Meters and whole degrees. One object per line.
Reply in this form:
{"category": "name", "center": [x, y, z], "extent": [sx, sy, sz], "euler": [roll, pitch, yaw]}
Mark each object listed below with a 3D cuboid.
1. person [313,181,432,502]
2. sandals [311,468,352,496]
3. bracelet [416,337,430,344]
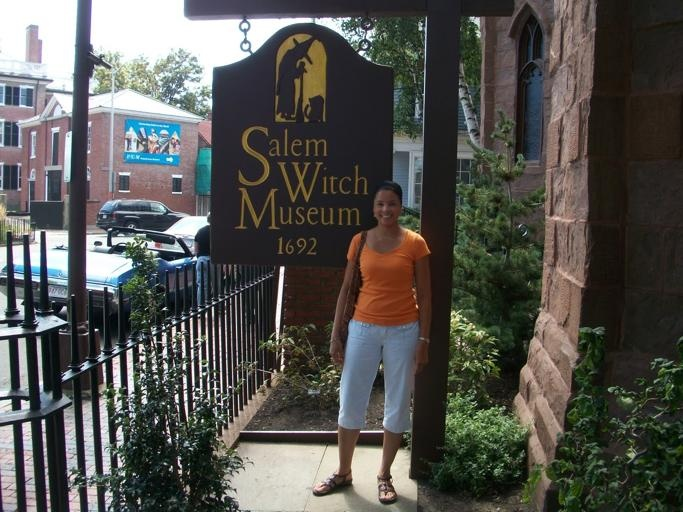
{"category": "person", "center": [0.244, 0.615, 3.883], "extent": [0.758, 2.225, 0.327], "euler": [0, 6, 10]}
{"category": "sandals", "center": [-0.061, 1.672, 4.065], "extent": [0.314, 0.133, 0.117], "euler": [0, -5, -26]}
{"category": "bracelet", "center": [0.561, 0.583, 3.833], "extent": [0.053, 0.025, 0.060], "euler": [24, 3, -39]}
